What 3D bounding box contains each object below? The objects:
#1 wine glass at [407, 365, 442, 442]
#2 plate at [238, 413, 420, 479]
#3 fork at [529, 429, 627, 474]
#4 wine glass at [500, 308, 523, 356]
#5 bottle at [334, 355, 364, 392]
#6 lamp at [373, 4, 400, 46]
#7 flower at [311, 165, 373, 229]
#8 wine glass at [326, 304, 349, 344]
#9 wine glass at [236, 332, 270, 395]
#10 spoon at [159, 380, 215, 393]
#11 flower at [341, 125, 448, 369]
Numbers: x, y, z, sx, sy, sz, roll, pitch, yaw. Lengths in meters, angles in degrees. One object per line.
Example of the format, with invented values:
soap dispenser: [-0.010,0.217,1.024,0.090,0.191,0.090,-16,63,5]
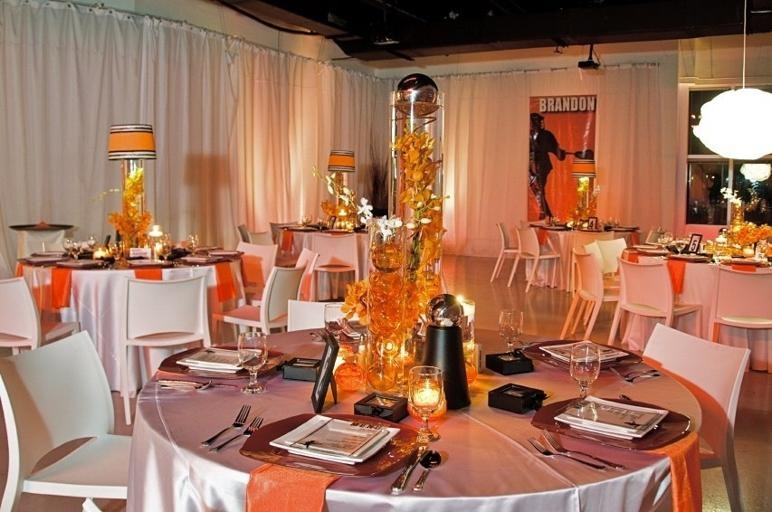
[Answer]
wine glass: [0.141,0.508,1.943,0.113,0.241,0.129,7,15,32]
plate: [-0.178,0.627,1.879,0.560,0.062,0.289,2,12,12]
fork: [0.628,0.654,1.841,0.311,0.044,0.095,8,16,42]
wine glass: [0.600,0.346,2.661,0.103,0.224,0.348,2,13,13]
bottle: [-0.146,0.485,2.332,0.116,0.148,0.115,0,-17,0]
lamp: [-0.015,-3.815,9.179,0.597,0.773,0.619,-1,11,-2]
flower: [-0.600,-0.733,7.540,0.347,0.817,0.818,-13,-17,36]
wine glass: [-0.255,0.345,2.681,0.113,0.175,0.113,-10,-6,-20]
wine glass: [-0.549,0.411,2.301,0.116,0.230,0.216,-4,13,-15]
spoon: [-0.820,0.519,2.262,0.141,0.029,0.076,9,12,-6]
flower: [0.025,-0.050,2.274,0.412,0.937,0.308,1,13,5]
